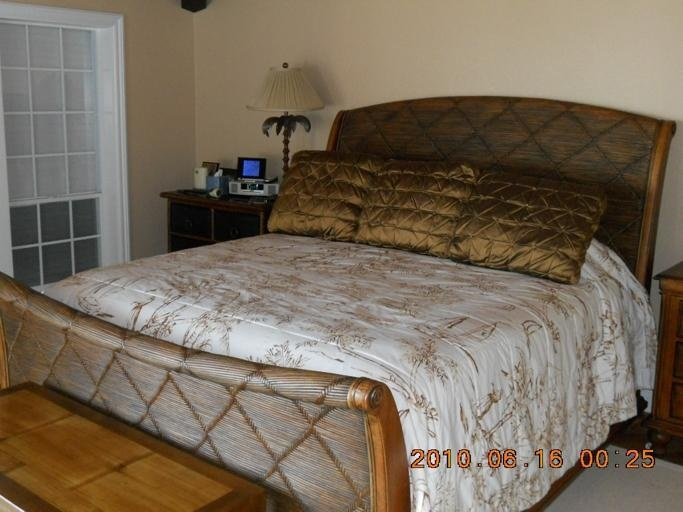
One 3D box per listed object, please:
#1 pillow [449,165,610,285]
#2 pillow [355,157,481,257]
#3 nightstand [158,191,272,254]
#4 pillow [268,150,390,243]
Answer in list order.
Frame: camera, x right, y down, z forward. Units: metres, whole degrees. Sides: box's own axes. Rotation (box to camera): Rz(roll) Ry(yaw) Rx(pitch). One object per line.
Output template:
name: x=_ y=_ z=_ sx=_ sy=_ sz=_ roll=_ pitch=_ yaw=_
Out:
pillow: x=0.898 y=-0.142 z=2.553 sx=0.636 sy=0.439 sz=0.369 roll=10 pitch=15 yaw=24
pillow: x=0.470 y=-0.283 z=2.915 sx=0.723 sy=0.546 sz=0.162 roll=14 pitch=-14 yaw=32
nightstand: x=-0.882 y=-0.251 z=3.676 sx=0.575 sy=0.402 sz=0.224 roll=10 pitch=17 yaw=35
pillow: x=-0.029 y=-0.389 z=3.218 sx=0.768 sy=0.565 sz=0.165 roll=12 pitch=-15 yaw=28
